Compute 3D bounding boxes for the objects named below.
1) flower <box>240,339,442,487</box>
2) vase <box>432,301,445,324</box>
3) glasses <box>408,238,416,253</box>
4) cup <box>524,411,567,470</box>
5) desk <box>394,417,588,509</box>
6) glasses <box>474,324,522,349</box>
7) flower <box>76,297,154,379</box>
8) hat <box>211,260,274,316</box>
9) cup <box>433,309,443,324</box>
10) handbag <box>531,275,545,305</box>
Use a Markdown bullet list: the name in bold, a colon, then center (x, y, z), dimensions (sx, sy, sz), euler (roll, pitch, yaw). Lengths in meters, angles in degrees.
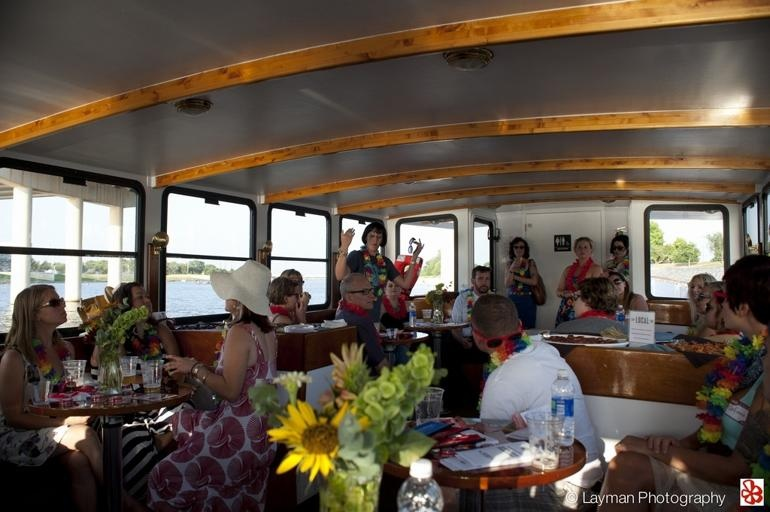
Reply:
- **flower**: center (-0.216, 0.578, 2.052), dimensions (0.619, 0.518, 0.593), euler (-4, 0, -32)
- **vase**: center (0.805, 0.837, 7.390), dimensions (0.243, 0.360, 0.240), euler (5, -6, -17)
- **glasses**: center (0.540, -0.171, 10.047), dimensions (0.091, 0.275, 0.194), euler (6, -42, 24)
- **cup**: center (0.855, 0.955, 2.680), dimensions (0.225, 0.248, 0.232), euler (0, 0, 0)
- **desk**: center (0.554, 1.108, 2.747), dimensions (0.567, 0.388, 0.562), euler (0, -4, -1)
- **glasses**: center (0.706, 0.548, 3.222), dimensions (0.212, 0.062, 0.209), euler (-5, -44, -4)
- **flower**: center (-2.063, 0.625, 3.759), dimensions (0.439, 0.479, 0.382), euler (13, 15, 37)
- **hat**: center (-1.047, 0.240, 3.645), dimensions (0.420, 0.410, 0.257), euler (-1, -2, -19)
- **cup**: center (0.771, 0.869, 7.206), dimensions (0.180, 0.246, 0.161), euler (-6, -15, 41)
- **handbag**: center (2.828, 0.643, 9.303), dimensions (0.243, 0.712, 0.587), euler (1, -2, 25)
